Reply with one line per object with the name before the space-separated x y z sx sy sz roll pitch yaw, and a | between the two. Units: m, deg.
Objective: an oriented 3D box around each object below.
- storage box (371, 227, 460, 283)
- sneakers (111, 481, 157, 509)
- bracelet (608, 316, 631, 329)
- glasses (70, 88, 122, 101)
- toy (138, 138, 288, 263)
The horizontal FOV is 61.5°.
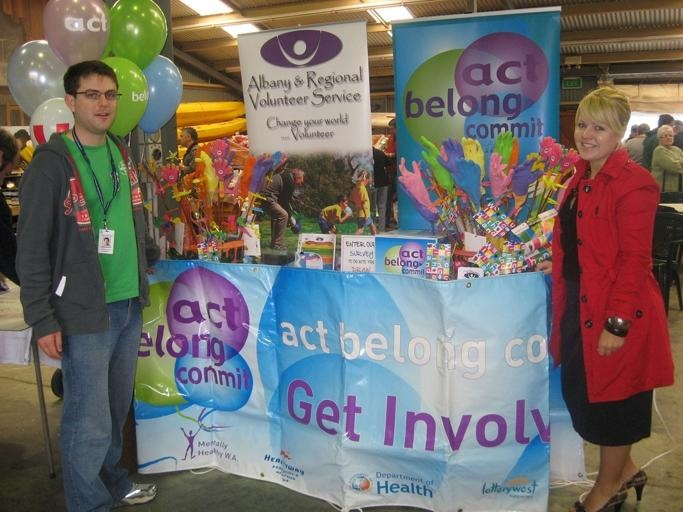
storage box | 0.324 -0.013 2.876 0.253 0.177 0.267 4 1 38
sneakers | -1.054 1.210 2.927 0.182 0.079 0.094 -12 31 -28
bracelet | 1.153 0.278 2.364 0.051 0.034 0.054 10 8 21
glasses | -1.104 -0.719 2.563 0.176 0.052 0.058 -9 13 -25
toy | -0.758 -0.303 3.590 0.730 0.805 0.778 2 8 9
